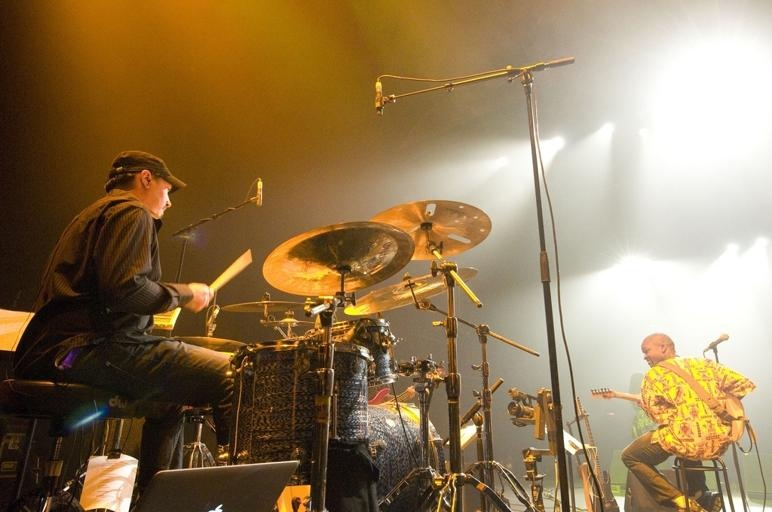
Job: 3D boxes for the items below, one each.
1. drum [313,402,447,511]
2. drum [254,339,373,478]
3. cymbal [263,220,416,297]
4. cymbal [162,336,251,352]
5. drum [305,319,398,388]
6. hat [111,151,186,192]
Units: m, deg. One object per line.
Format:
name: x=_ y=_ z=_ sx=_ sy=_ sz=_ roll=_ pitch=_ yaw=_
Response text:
drum: x=0.017 y=2.005 z=6.191 sx=1.050 sy=1.372 sz=1.288 roll=1 pitch=-7 yaw=-34
drum: x=-0.650 y=1.265 z=5.257 sx=1.014 sy=0.977 sz=1.012 roll=3 pitch=-6 yaw=-23
cymbal: x=-0.427 y=0.028 z=5.423 sx=0.929 sy=0.234 sz=0.942 roll=-25 pitch=-35 yaw=17
cymbal: x=-1.709 y=0.832 z=5.632 sx=0.369 sy=0.060 sz=0.367 roll=9 pitch=-11 yaw=6
drum: x=-0.230 y=0.954 z=5.981 sx=0.724 sy=0.525 sz=0.730 roll=-1 pitch=-10 yaw=0
hat: x=-2.085 y=-0.782 z=5.275 sx=0.522 sy=0.241 sz=0.368 roll=1 pitch=-2 yaw=-34
